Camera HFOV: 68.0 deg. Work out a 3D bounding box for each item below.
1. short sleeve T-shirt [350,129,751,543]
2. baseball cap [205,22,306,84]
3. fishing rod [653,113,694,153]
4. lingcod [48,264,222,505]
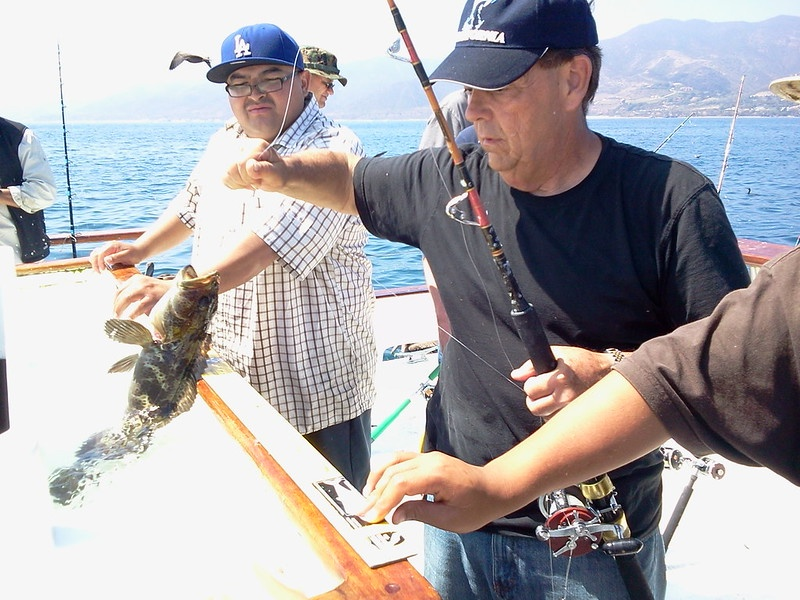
[{"bbox_3d":[0.525,0.111,2.333,1.598,1.481,0.751,13,36,35],"label":"short sleeve T-shirt"},{"bbox_3d":[-0.691,-1.161,2.882,0.443,0.229,0.333,7,16,0],"label":"baseball cap"},{"bbox_3d":[0.962,-0.633,2.090,0.080,0.033,0.479,43,42,2],"label":"fishing rod"},{"bbox_3d":[-0.896,0.217,2.332,0.442,0.997,0.316,26,-9,0],"label":"lingcod"}]
